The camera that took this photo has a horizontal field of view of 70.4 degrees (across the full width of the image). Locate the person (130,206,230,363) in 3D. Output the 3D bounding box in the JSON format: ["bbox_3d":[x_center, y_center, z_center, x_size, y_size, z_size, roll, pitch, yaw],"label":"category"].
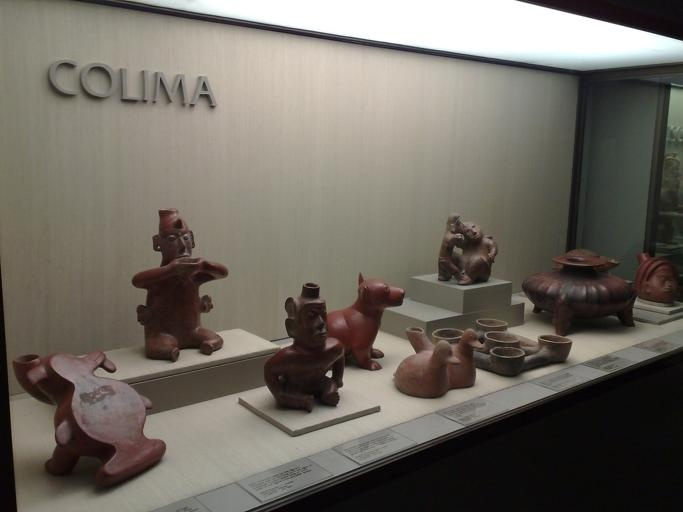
[{"bbox_3d":[-0.891,0.145,2.664,0.479,0.813,0.268,-9,13,-25],"label":"person"}]
